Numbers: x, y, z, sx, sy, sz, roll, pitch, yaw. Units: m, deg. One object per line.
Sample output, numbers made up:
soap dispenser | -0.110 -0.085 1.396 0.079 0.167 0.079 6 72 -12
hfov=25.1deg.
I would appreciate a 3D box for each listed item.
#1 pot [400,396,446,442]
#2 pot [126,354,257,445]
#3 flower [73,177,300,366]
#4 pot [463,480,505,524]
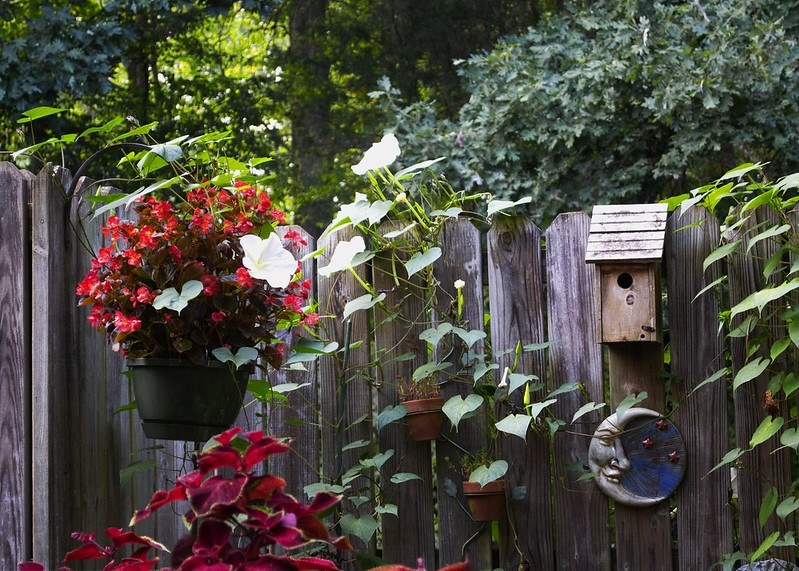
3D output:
pot | 0.150 0.789 10.226 0.323 0.192 0.326 -21 -11 -4
pot | -1.196 0.625 10.056 0.741 0.481 0.733 3 3 0
flower | -1.163 -0.034 9.780 1.025 0.730 1.027 3 -22 -10
pot | 0.478 1.215 10.166 0.243 0.194 0.244 1 -8 0
